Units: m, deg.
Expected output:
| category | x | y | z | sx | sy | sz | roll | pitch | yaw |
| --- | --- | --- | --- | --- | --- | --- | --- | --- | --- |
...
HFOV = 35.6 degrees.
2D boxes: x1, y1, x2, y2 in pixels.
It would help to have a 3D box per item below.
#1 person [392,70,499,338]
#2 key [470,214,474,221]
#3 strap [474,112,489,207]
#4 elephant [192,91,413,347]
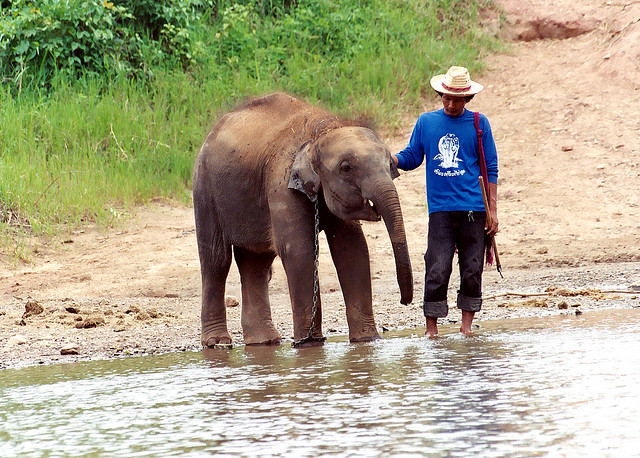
| category | x | y | z | sx | sy | sz | roll | pitch | yaw |
| --- | --- | --- | --- | --- | --- | --- | --- | --- | --- |
| person | 1.080 | -0.219 | 8.272 | 0.769 | 2.160 | 0.486 | -1 | 10 | 6 |
| key | 1.251 | -0.100 | 8.232 | 0.034 | 0.050 | 0.006 | -8 | 12 | -28 |
| strap | 1.345 | -0.580 | 8.252 | 0.099 | 0.801 | 0.043 | 1 | -17 | -32 |
| elephant | -0.185 | -0.015 | 8.566 | 1.011 | 2.019 | 2.400 | -3 | 1 | -44 |
